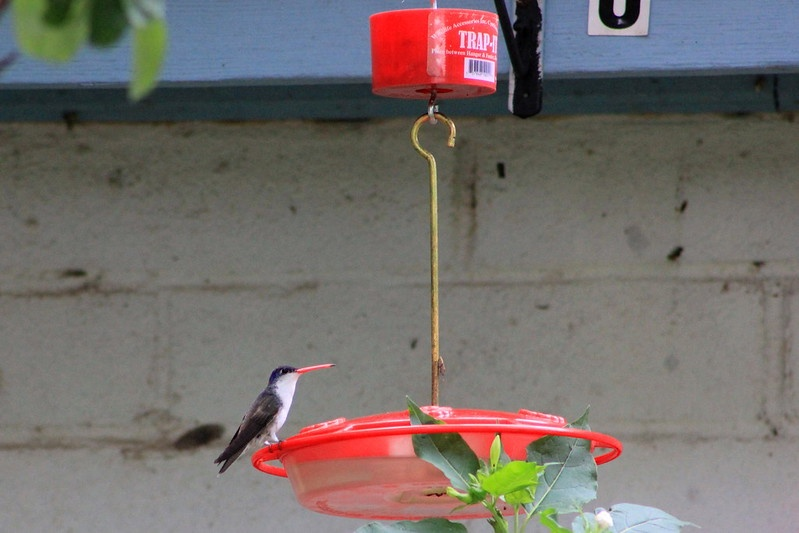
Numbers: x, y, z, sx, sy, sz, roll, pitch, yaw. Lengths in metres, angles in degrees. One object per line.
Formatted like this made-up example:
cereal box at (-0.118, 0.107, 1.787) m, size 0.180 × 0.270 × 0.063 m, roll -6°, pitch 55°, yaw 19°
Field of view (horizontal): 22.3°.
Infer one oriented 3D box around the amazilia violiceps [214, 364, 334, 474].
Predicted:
amazilia violiceps at (-0.385, 0.446, 6.092) m, size 0.353 × 0.122 × 0.278 m, roll -11°, pitch 68°, yaw 6°

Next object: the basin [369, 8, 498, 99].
basin at (0.093, -0.604, 5.702) m, size 0.274 × 0.173 × 0.281 m, roll 0°, pitch -5°, yaw 0°
